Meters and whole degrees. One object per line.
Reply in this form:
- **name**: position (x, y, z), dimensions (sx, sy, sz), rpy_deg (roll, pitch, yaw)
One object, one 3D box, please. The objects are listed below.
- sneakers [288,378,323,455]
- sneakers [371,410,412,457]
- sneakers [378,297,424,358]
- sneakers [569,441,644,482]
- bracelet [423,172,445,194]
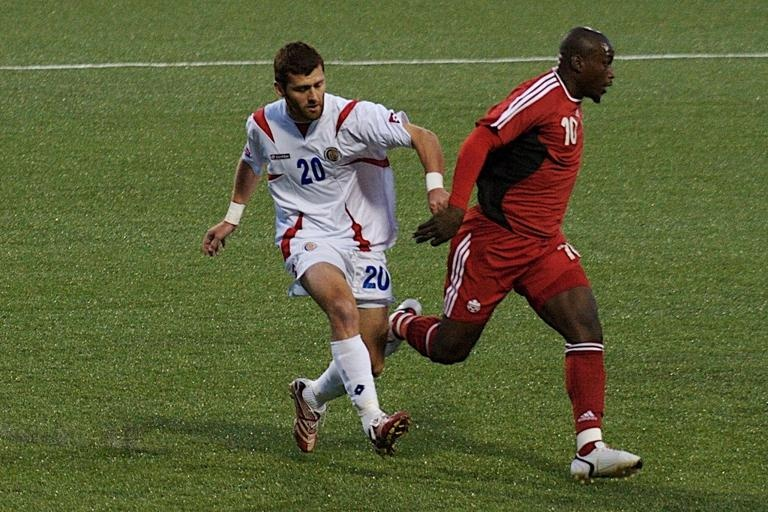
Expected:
- **sneakers**: position (-0.575, 1.206, 9.978), dimensions (0.301, 0.532, 0.217), rpy_deg (-12, -2, 32)
- **sneakers**: position (0.024, 1.254, 9.332), dimensions (0.171, 0.431, 0.207), rpy_deg (19, 44, -22)
- **sneakers**: position (0.136, 0.566, 10.412), dimensions (0.199, 0.237, 0.578), rpy_deg (27, 52, 20)
- **sneakers**: position (1.551, 1.465, 9.444), dimensions (0.598, 0.252, 0.203), rpy_deg (-8, 4, 17)
- **bracelet**: position (0.367, -0.526, 9.457), dimensions (0.149, 0.131, 0.137), rpy_deg (-1, 1, -32)
